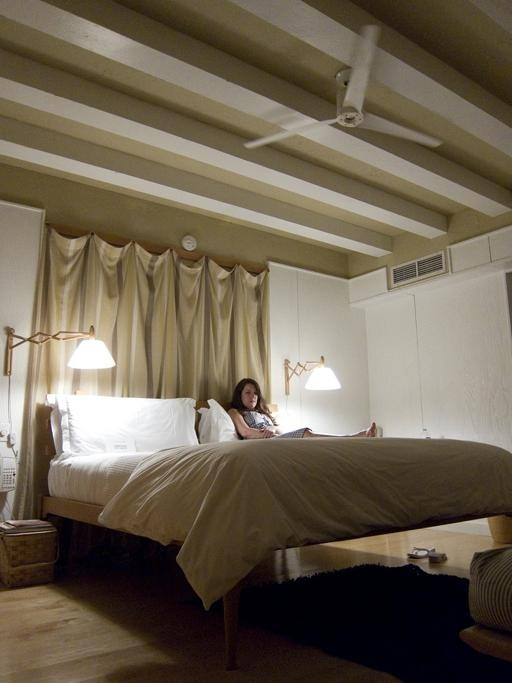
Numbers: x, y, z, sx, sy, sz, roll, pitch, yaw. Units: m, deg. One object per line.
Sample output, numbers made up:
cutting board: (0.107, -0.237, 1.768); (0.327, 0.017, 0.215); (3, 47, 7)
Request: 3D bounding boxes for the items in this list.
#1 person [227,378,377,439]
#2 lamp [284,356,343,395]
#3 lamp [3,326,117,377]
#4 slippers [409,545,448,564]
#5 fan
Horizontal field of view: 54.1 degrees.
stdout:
person: (0.320, 0.534, 3.967); (1.294, 0.564, 0.533); (-9, -18, 24)
lamp: (0.605, 0.325, 4.960); (0.328, 0.377, 0.573); (12, -21, -38)
lamp: (-1.298, 0.048, 3.430); (0.725, 0.361, 0.318); (-9, -19, 20)
slippers: (0.990, 1.240, 2.886); (0.145, 0.058, 0.146); (2, -10, 3)
fan: (0.468, -1.260, 2.753); (0.781, 0.524, 0.784); (1, 13, -42)
